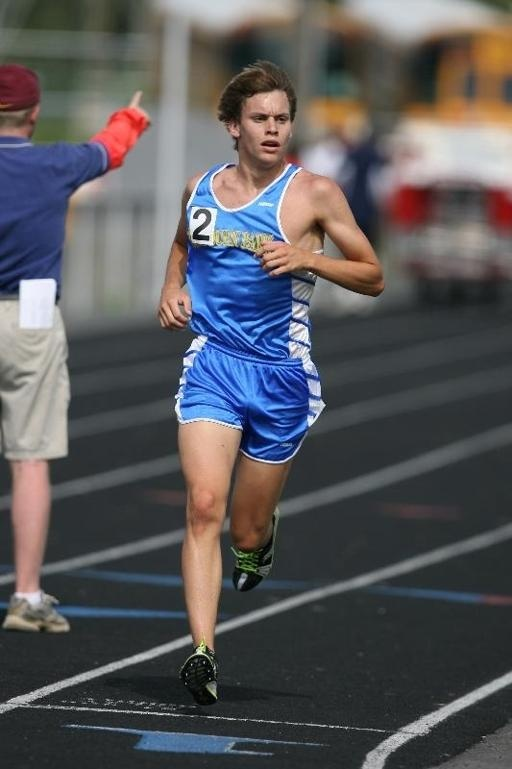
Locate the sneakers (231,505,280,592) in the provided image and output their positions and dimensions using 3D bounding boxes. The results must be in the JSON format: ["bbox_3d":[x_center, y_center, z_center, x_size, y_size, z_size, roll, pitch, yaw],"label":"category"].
[{"bbox_3d":[-0.020,0.670,3.665,0.153,0.362,0.172,12,22,8],"label":"sneakers"}]

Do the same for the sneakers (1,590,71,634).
[{"bbox_3d":[-0.802,0.855,3.486,0.268,0.108,0.122,10,-3,-39],"label":"sneakers"}]

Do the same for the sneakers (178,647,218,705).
[{"bbox_3d":[-0.139,0.791,2.569,0.084,0.166,0.085,-6,19,22],"label":"sneakers"}]
